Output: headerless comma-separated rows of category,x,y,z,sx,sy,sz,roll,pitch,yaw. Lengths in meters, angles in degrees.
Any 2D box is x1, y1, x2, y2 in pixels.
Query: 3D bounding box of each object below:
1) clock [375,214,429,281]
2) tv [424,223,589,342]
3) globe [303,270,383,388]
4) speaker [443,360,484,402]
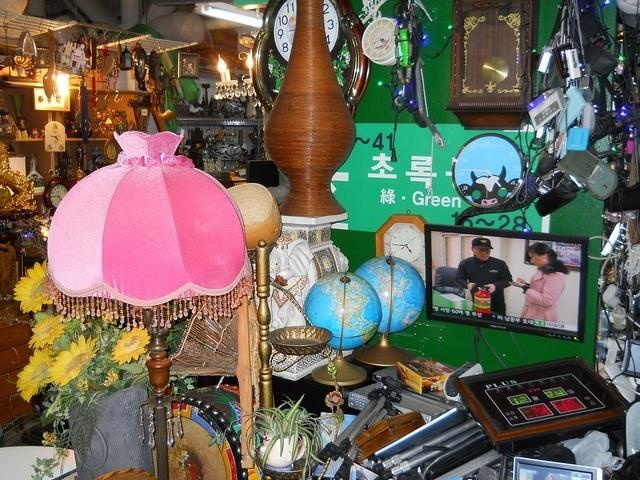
clock,0.517,0.026,3.376,0.273,0.384,0.145,5,16,15
tv,1.069,0.214,2.999,0.805,0.610,0.167,10,16,32
globe,0.124,0.467,3.005,0.407,0.624,0.424,11,22,23
speaker,0.685,0.682,2.644,0.180,0.149,0.393,0,9,16
